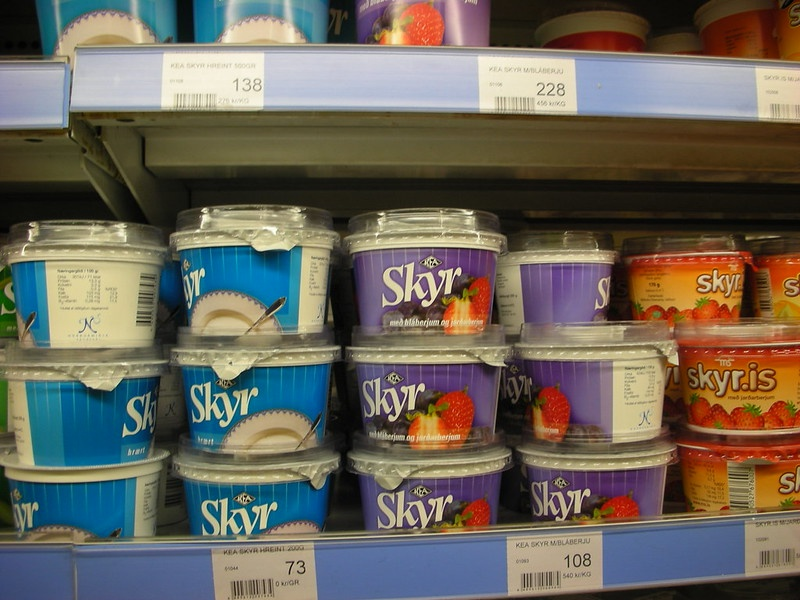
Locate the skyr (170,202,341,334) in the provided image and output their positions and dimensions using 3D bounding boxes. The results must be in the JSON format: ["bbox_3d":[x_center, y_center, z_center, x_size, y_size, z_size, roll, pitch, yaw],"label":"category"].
[{"bbox_3d":[-0.363,-0.040,2.085,0.437,0.334,0.433,3,-10,-14],"label":"skyr"}]

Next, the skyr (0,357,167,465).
[{"bbox_3d":[-0.712,0.254,1.881,0.270,0.168,0.260,1,-2,-28],"label":"skyr"}]

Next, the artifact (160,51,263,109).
[{"bbox_3d":[-0.403,-0.468,1.800,0.223,0.139,0.037,-6,5,-3],"label":"artifact"}]

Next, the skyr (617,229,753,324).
[{"bbox_3d":[0.724,-0.054,2.113,0.250,0.191,0.239,-2,1,-15],"label":"skyr"}]

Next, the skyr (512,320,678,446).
[{"bbox_3d":[0.492,0.197,2.123,0.432,0.273,0.394,0,-3,23],"label":"skyr"}]

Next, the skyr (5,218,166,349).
[{"bbox_3d":[-0.710,-0.034,1.893,0.311,0.243,0.298,-1,1,-19],"label":"skyr"}]

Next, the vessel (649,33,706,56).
[{"bbox_3d":[0.749,-0.684,2.253,0.161,0.058,0.148,3,3,14],"label":"vessel"}]

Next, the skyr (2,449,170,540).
[{"bbox_3d":[-0.726,0.448,1.884,0.252,0.159,0.237,1,-6,-7],"label":"skyr"}]

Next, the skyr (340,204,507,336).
[{"bbox_3d":[0.060,-0.068,2.089,0.387,0.290,0.383,1,3,14],"label":"skyr"}]

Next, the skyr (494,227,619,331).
[{"bbox_3d":[0.388,-0.057,2.078,0.263,0.206,0.265,0,1,1],"label":"skyr"}]
